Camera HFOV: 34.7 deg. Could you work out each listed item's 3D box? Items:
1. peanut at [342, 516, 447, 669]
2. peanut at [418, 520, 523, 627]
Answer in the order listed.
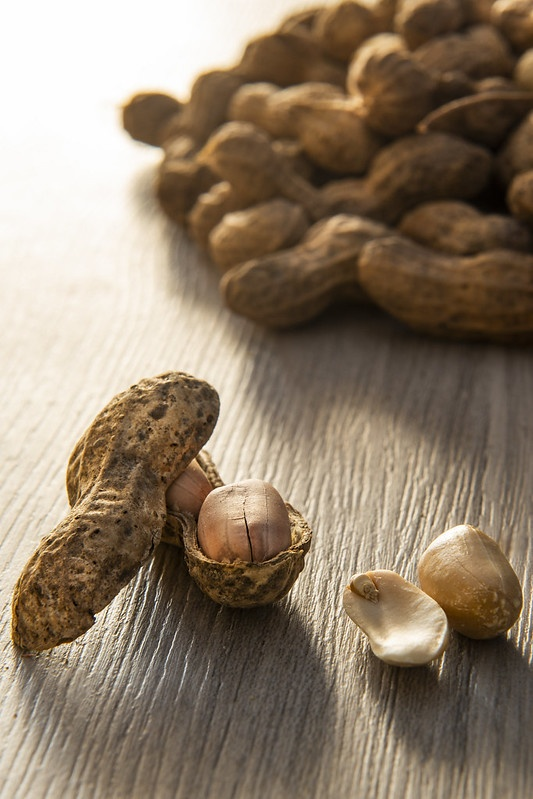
[{"bbox_3d":[0.115,0.182,0.753,0.063,0.025,0.093,-27,39,-13],"label":"peanut"},{"bbox_3d":[0.187,0.178,0.841,0.077,0.055,0.096,12,34,-36],"label":"peanut"}]
